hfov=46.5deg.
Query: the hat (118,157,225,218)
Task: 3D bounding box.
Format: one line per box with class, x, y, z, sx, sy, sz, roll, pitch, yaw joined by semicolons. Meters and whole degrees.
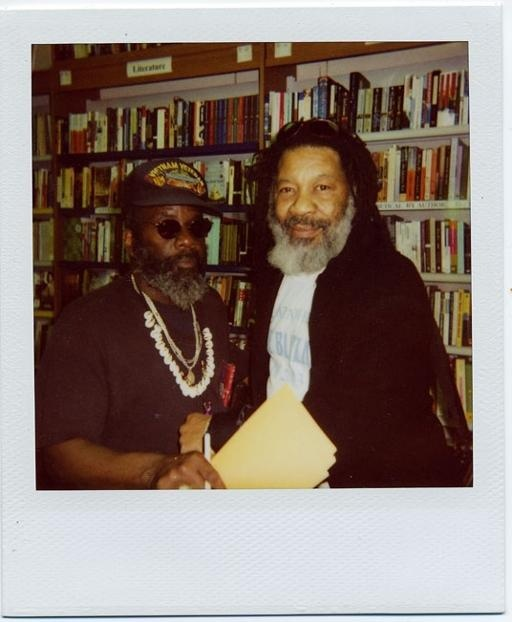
hat;-0.262;-0.336;1.646;0.203;0.094;0.161;9;11;40
